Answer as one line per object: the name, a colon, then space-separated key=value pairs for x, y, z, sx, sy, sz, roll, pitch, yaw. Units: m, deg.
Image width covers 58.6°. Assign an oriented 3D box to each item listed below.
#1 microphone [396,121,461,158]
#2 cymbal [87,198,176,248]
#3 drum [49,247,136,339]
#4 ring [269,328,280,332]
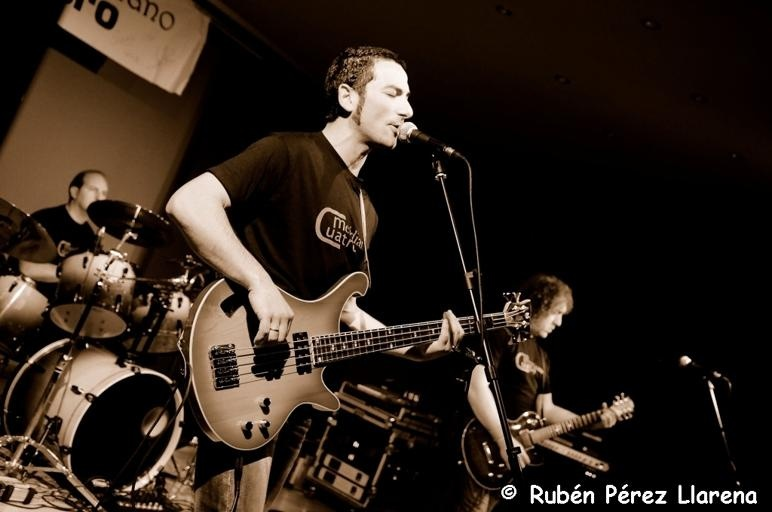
microphone: x=0.256 y=-0.805 z=4.825 sx=0.562 sy=0.162 sz=0.193 roll=19 pitch=-27 yaw=33
cymbal: x=-1.921 y=-0.239 z=5.165 sx=0.388 sy=0.099 sz=0.398 roll=22 pitch=-39 yaw=-16
drum: x=-2.150 y=0.266 z=5.091 sx=0.573 sy=0.562 sz=0.584 roll=14 pitch=-38 yaw=-30
ring: x=-0.702 y=0.460 z=4.279 sx=0.058 sy=0.024 sz=0.012 roll=17 pitch=-7 yaw=-29
